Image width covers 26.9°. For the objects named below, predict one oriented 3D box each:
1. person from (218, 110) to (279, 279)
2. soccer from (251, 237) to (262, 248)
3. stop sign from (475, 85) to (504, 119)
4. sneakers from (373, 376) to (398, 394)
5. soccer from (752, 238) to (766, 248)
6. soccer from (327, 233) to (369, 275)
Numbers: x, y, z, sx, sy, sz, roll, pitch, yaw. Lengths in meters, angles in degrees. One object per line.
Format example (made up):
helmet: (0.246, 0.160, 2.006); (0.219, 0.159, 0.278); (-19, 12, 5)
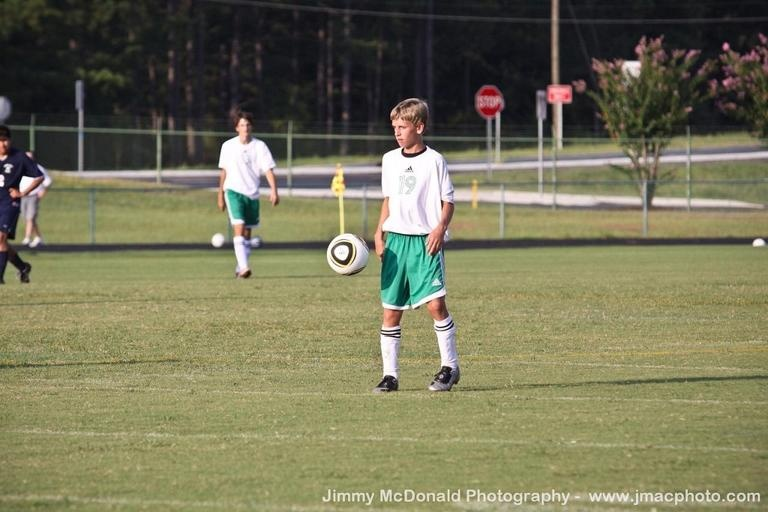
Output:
person: (-2.755, -1.214, 32.046); (1.101, 3.336, 0.845); (-3, 5, -7)
soccer: (-2.986, -0.341, 36.816); (0.225, 0.207, 0.265); (-5, -20, -35)
stop sign: (2.972, -4.357, 45.367); (0.714, 0.888, 0.682); (-2, 5, 1)
sneakers: (0.018, 2.043, 25.650); (0.207, 0.159, 0.404); (-4, -6, 39)
soccer: (8.937, -0.309, 38.334); (0.219, 0.144, 0.245); (0, 5, -5)
soccer: (-0.581, -0.034, 26.538); (0.678, 0.632, 0.663); (2, 6, 18)
